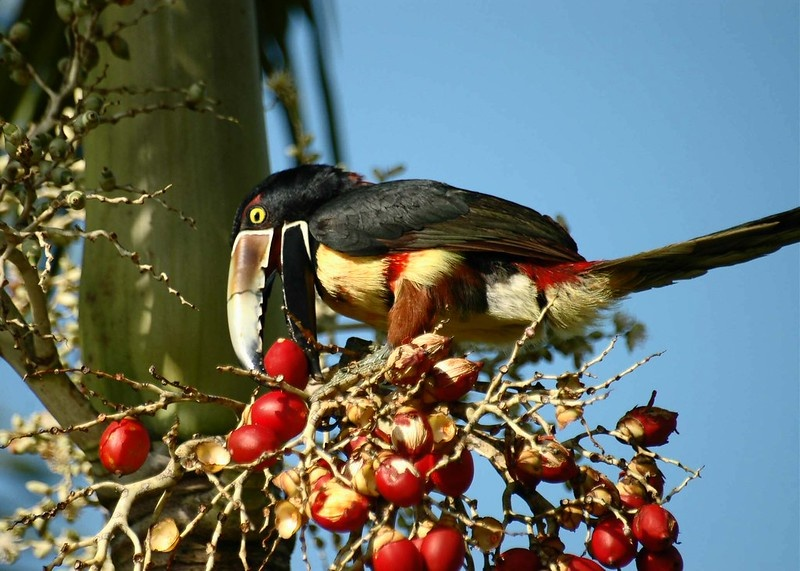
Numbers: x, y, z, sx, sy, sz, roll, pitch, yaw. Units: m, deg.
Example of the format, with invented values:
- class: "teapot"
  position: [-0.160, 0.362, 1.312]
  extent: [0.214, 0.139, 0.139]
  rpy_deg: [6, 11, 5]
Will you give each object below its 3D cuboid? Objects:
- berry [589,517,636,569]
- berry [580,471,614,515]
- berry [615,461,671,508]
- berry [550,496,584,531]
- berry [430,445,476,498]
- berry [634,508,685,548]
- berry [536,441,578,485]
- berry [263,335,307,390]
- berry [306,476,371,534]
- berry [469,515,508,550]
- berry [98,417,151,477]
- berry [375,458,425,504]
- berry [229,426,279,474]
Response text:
- class: "berry"
  position: [0.726, 0.898, 5.044]
  extent: [0.133, 0.180, 0.132]
  rpy_deg: [12, 8, -28]
- class: "berry"
  position: [0.695, 0.718, 5.126]
  extent: [0.133, 0.178, 0.081]
  rpy_deg: [3, -34, 7]
- class: "berry"
  position: [0.841, 0.701, 5.142]
  extent: [0.162, 0.173, 0.236]
  rpy_deg: [3, -35, 8]
- class: "berry"
  position: [0.581, 0.813, 5.043]
  extent: [0.099, 0.128, 0.114]
  rpy_deg: [3, -34, 8]
- class: "berry"
  position: [0.171, 0.623, 5.025]
  extent: [0.143, 0.152, 0.226]
  rpy_deg: [3, -35, 8]
- class: "berry"
  position: [0.877, 0.839, 5.059]
  extent: [0.154, 0.132, 0.136]
  rpy_deg: [2, -35, 9]
- class: "berry"
  position: [0.543, 0.612, 5.043]
  extent: [0.109, 0.151, 0.132]
  rpy_deg: [17, -53, -3]
- class: "berry"
  position: [-0.424, 0.291, 5.340]
  extent: [0.135, 0.181, 0.140]
  rpy_deg: [-26, -22, -18]
- class: "berry"
  position: [-0.216, 0.736, 4.892]
  extent: [0.184, 0.139, 0.145]
  rpy_deg: [-1, -75, 28]
- class: "berry"
  position: [0.299, 0.861, 4.995]
  extent: [0.120, 0.116, 0.119]
  rpy_deg: [1, -35, 11]
- class: "berry"
  position: [-0.964, 0.564, 5.076]
  extent: [0.188, 0.233, 0.184]
  rpy_deg: [8, -8, -39]
- class: "berry"
  position: [-0.009, 0.664, 4.917]
  extent: [0.171, 0.152, 0.139]
  rpy_deg: [8, -34, 0]
- class: "berry"
  position: [-0.513, 0.545, 5.032]
  extent: [0.164, 0.136, 0.128]
  rpy_deg: [11, -30, 38]
